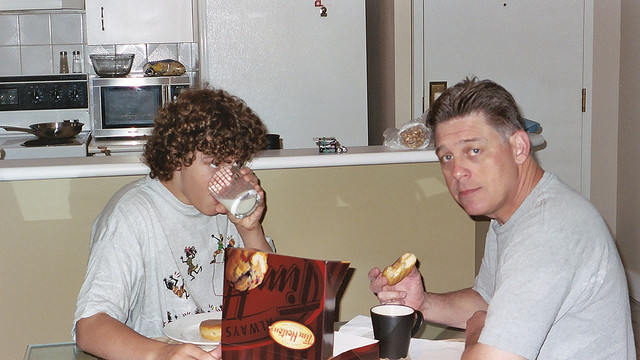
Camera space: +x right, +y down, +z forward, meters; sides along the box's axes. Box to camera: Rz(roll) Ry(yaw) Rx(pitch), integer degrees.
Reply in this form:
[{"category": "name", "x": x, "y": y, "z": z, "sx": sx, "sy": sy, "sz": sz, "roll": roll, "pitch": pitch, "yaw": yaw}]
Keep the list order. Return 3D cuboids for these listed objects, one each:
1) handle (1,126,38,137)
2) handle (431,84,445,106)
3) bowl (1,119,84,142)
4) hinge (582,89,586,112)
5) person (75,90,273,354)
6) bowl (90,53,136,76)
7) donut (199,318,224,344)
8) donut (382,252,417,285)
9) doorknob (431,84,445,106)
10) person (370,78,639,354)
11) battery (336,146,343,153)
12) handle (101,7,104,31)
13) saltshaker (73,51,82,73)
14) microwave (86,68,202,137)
[{"category": "handle", "x": -2.476, "y": -0.414, "z": 4.054, "sx": 0.239, "sy": 0.035, "sz": 0.156, "roll": 0, "pitch": 2, "yaw": -37}, {"category": "handle", "x": 0.868, "y": -0.651, "z": 3.669, "sx": 0.092, "sy": 0.130, "sz": 0.142, "roll": 0, "pitch": 8, "yaw": 26}, {"category": "bowl", "x": -2.359, "y": -0.428, "z": 4.257, "sx": 0.592, "sy": 0.192, "sz": 0.501, "roll": -4, "pitch": 7, "yaw": -13}, {"category": "hinge", "x": 1.983, "y": -0.595, "z": 3.684, "sx": 0.024, "sy": 0.168, "sz": 0.021, "roll": -1, "pitch": 7, "yaw": 17}, {"category": "person", "x": -0.530, "y": 0.148, "z": 1.751, "sx": 0.687, "sy": 0.934, "sz": 0.530, "roll": -4, "pitch": 7, "yaw": -5}, {"category": "bowl", "x": -1.939, "y": -1.047, "z": 4.558, "sx": 0.436, "sy": 0.198, "sz": 0.433, "roll": -3, "pitch": 9, "yaw": 0}, {"category": "donut", "x": -0.370, "y": 0.502, "z": 1.648, "sx": 0.071, "sy": 0.054, "sz": 0.107, "roll": -5, "pitch": 7, "yaw": -15}, {"category": "donut", "x": 0.276, "y": 0.305, "z": 1.748, "sx": 0.142, "sy": 0.073, "sz": 0.056, "roll": -39, "pitch": -23, "yaw": -5}, {"category": "doorknob", "x": 0.868, "y": -0.651, "z": 3.669, "sx": 0.092, "sy": 0.130, "sz": 0.142, "roll": 0, "pitch": 8, "yaw": 26}, {"category": "person", "x": 0.778, "y": 0.004, "z": 2.188, "sx": 1.087, "sy": 1.373, "sz": 0.998, "roll": -3, "pitch": 4, "yaw": 3}, {"category": "battery", "x": 0.095, "y": -0.150, "z": 2.435, "sx": 0.023, "sy": 0.028, "sz": 0.011, "roll": -4, "pitch": -34, "yaw": 6}, {"category": "handle", "x": -1.921, "y": -1.422, "z": 4.339, "sx": 0.037, "sy": 0.198, "sz": 0.006, "roll": -1, "pitch": 7, "yaw": 17}, {"category": "saltshaker", "x": -2.347, "y": -1.139, "z": 4.728, "sx": 0.070, "sy": 0.200, "sz": 0.052, "roll": -7, "pitch": 8, "yaw": -26}, {"category": "microwave", "x": -1.524, "y": -0.626, "z": 4.510, "sx": 0.956, "sy": 0.548, "sz": 0.574, "roll": 0, "pitch": 2, "yaw": 8}]
